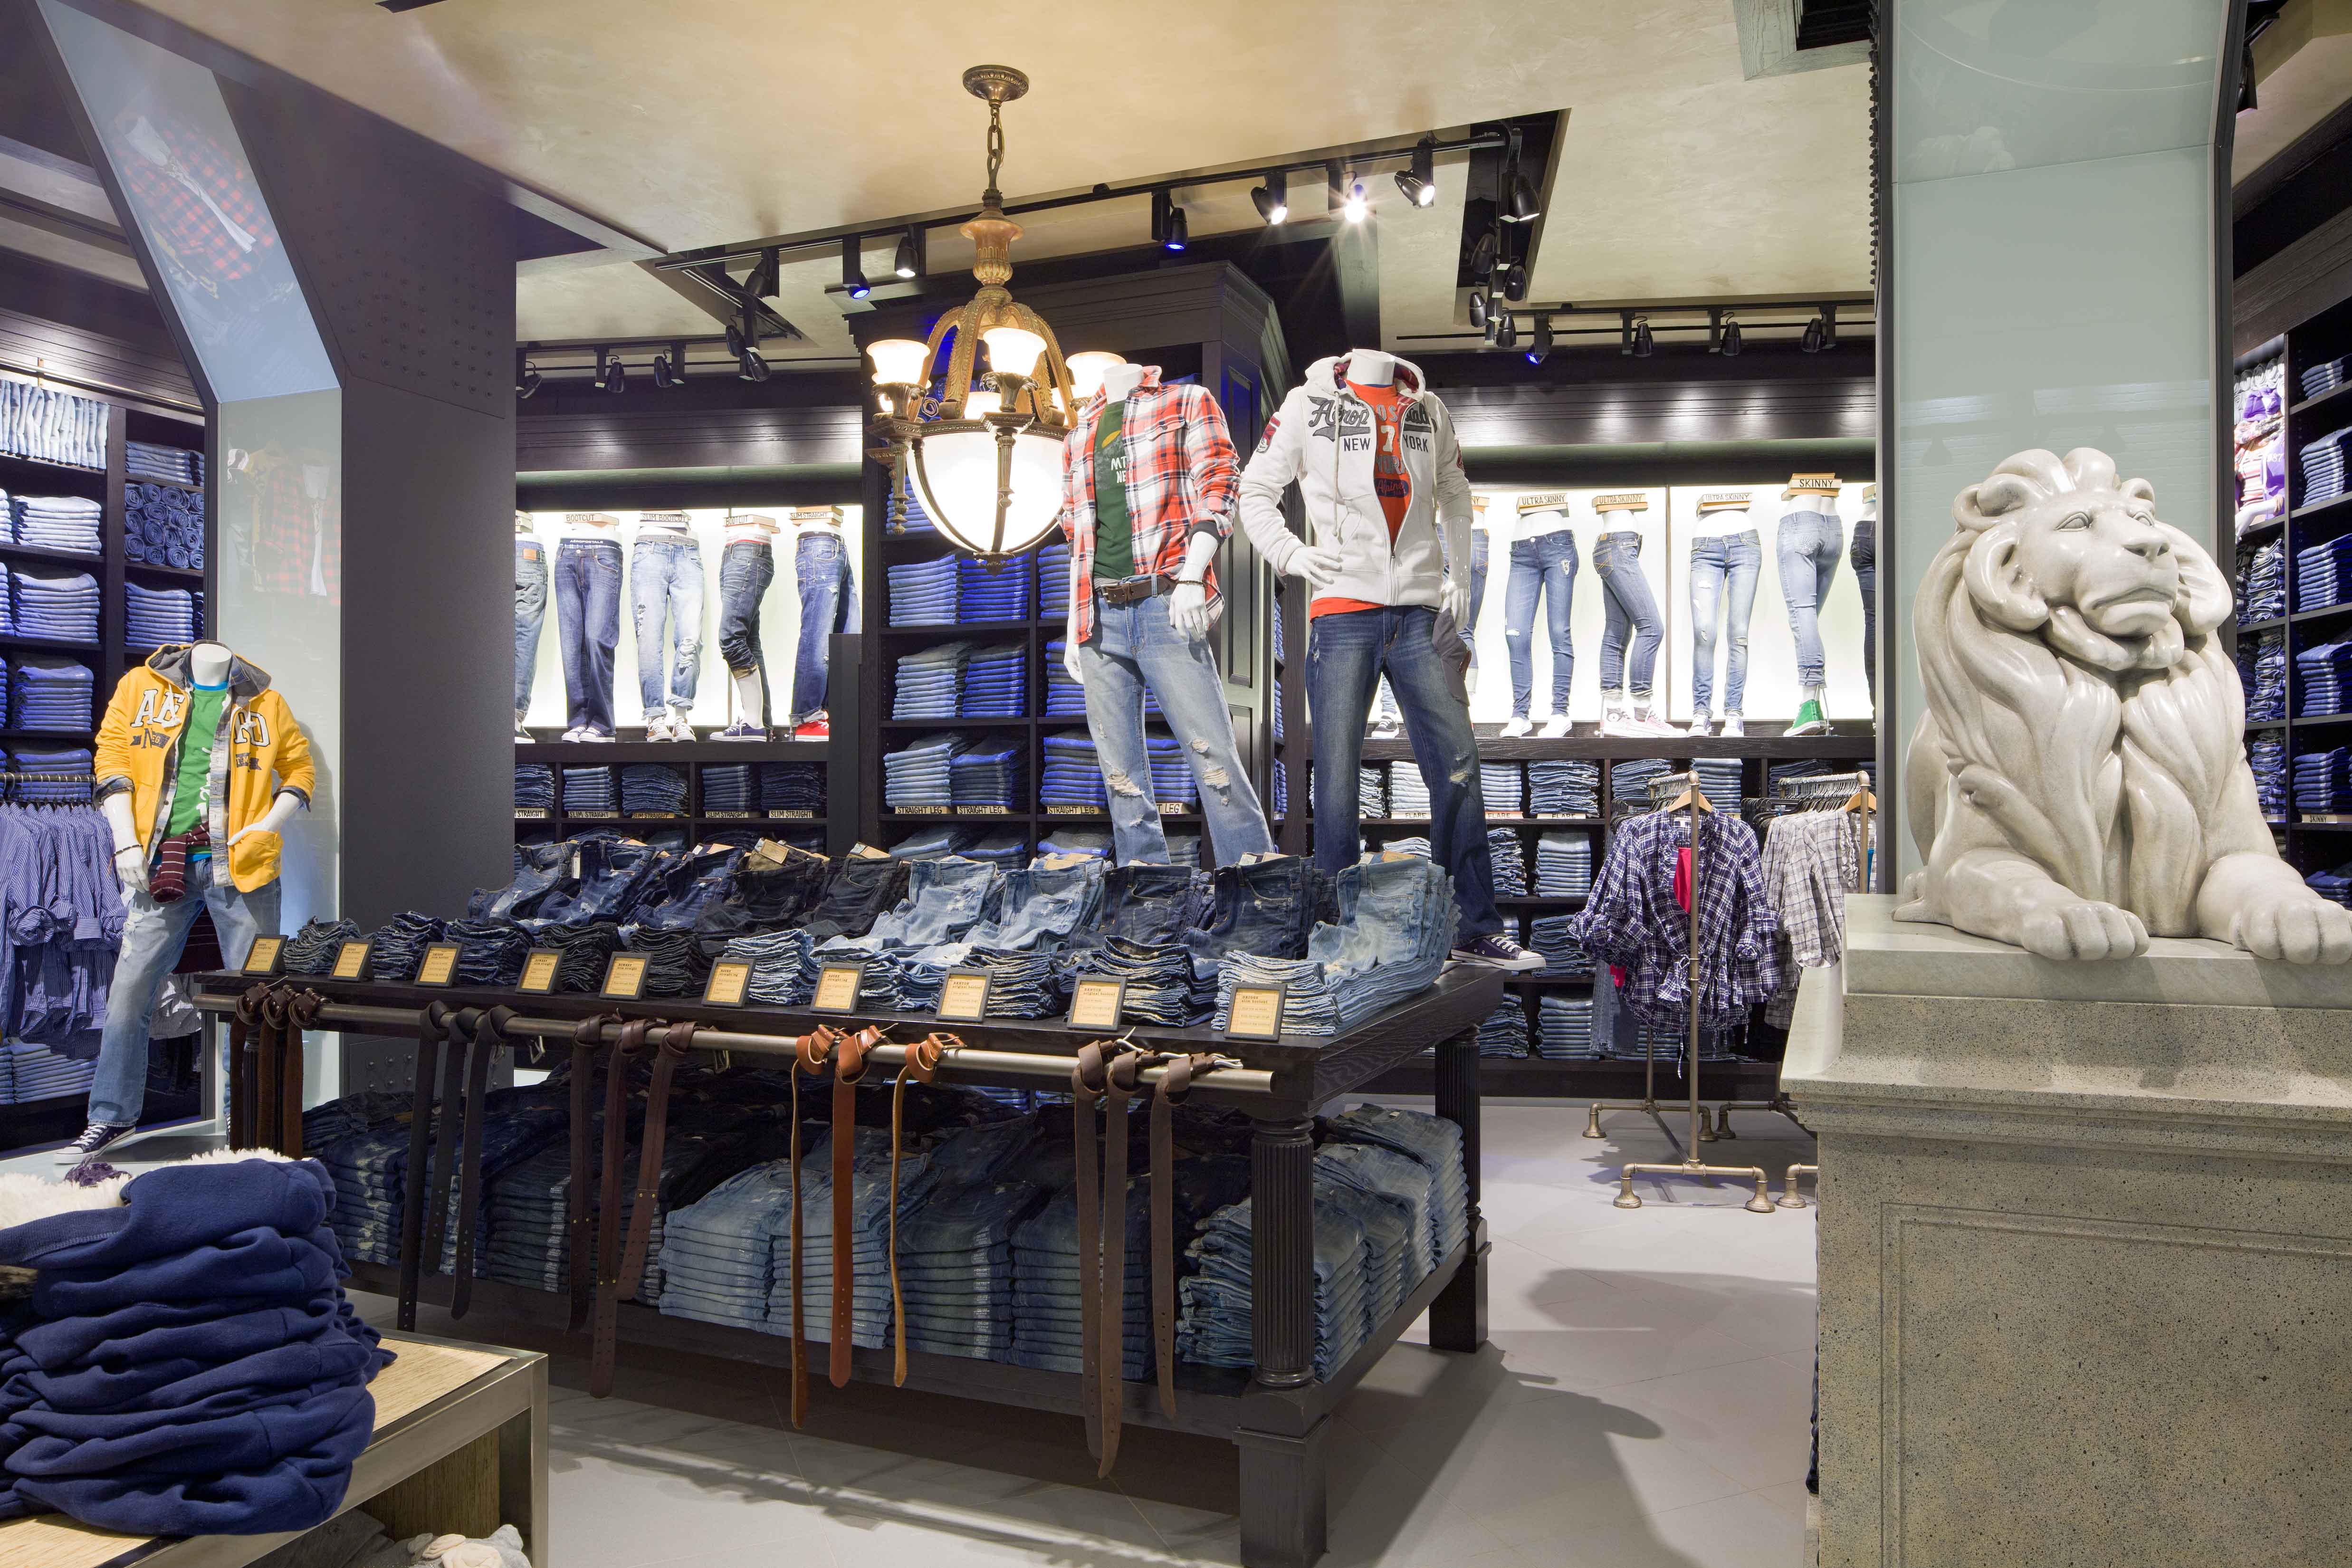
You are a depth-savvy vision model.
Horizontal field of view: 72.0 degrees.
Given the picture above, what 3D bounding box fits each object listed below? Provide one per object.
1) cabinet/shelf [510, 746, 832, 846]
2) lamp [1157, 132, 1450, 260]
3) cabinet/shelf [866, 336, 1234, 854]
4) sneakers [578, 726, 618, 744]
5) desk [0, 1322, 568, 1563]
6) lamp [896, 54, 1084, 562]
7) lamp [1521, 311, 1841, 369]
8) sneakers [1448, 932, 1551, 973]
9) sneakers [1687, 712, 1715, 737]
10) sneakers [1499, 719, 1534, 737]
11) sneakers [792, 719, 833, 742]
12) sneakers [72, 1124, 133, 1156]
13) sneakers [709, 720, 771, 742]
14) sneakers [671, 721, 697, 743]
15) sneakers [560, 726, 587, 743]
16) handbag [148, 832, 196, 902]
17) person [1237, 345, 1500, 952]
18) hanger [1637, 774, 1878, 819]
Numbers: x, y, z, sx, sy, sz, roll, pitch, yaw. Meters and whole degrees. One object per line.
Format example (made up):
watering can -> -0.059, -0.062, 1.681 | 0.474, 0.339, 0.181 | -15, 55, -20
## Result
cabinet/shelf -> -2.779, 0.038, 8.942 | 1.979, 0.593, 0.378 | -3, -2, 22
lamp -> 0.555, -2.367, 6.634 | 1.302, 0.314, 0.745 | -3, -2, 20
cabinet/shelf -> -0.171, -0.483, 5.370 | 0.846, 1.805, 0.513 | -7, -2, 14
sneakers -> -3.313, -0.265, 9.186 | 0.237, 0.103, 0.089 | -3, 8, 2
desk -> -1.549, 1.294, 2.911 | 0.368, 0.434, 0.754 | -3, -3, 28
lamp -> -0.641, -1.623, 5.527 | 0.789, 1.582, 0.766 | 1, 7, 9
lamp -> 2.617, -2.260, 8.225 | 1.678, 0.277, 0.326 | 0, 0, 12
sneakers -> 0.968, 0.515, 4.880 | 0.350, 0.145, 0.116 | -2, -1, 20
sneakers -> 2.755, -0.299, 8.463 | 0.111, 0.138, 0.147 | -5, -9, 43
sneakers -> 1.793, -0.291, 8.527 | 0.157, 0.110, 0.299 | -3, -2, 11
sneakers -> -1.981, -0.282, 8.912 | 0.316, 0.126, 0.104 | -3, -1, 8
sneakers -> -4.131, 1.374, 6.197 | 0.104, 0.080, 0.242 | -10, 3, -31
sneakers -> -2.494, -0.273, 9.204 | 0.302, 0.106, 0.174 | 3, -5, -30
sneakers -> -2.876, -0.288, 9.394 | 0.136, 0.059, 0.169 | -1, -3, -22
sneakers -> -3.447, -0.269, 9.242 | 0.103, 0.081, 0.194 | 8, 4, -15
handbag -> -3.834, 0.326, 6.164 | 0.179, 0.233, 0.072 | 4, -8, -9
person -> 0.623, -0.407, 5.027 | 0.785, 1.947, 0.404 | -2, -2, 3
hanger -> 2.377, 0.060, 6.599 | 0.501, 0.147, 0.368 | -1, 2, 4
